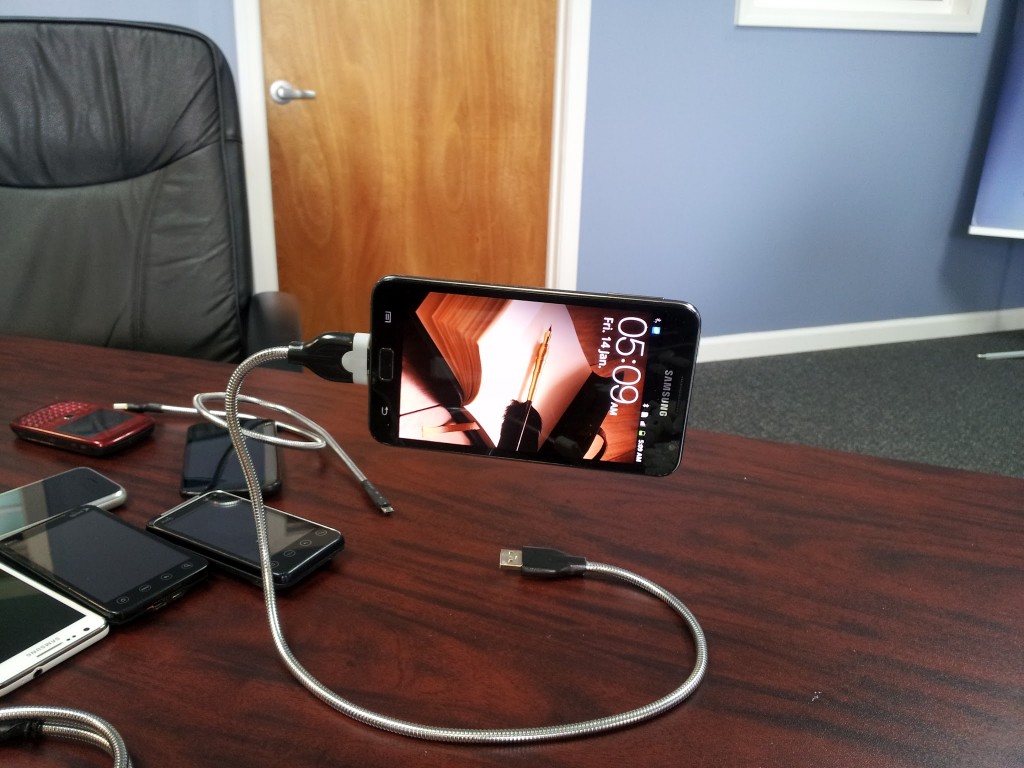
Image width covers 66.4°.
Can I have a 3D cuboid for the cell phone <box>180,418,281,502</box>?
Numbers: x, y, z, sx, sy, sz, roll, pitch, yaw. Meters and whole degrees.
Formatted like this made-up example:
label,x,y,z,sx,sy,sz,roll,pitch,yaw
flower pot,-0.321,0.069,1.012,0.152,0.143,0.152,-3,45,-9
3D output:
label,x,y,z,sx,sy,sz,roll,pitch,yaw
cell phone,-0.273,0.077,0.750,0.092,0.024,0.071,16,44,1
